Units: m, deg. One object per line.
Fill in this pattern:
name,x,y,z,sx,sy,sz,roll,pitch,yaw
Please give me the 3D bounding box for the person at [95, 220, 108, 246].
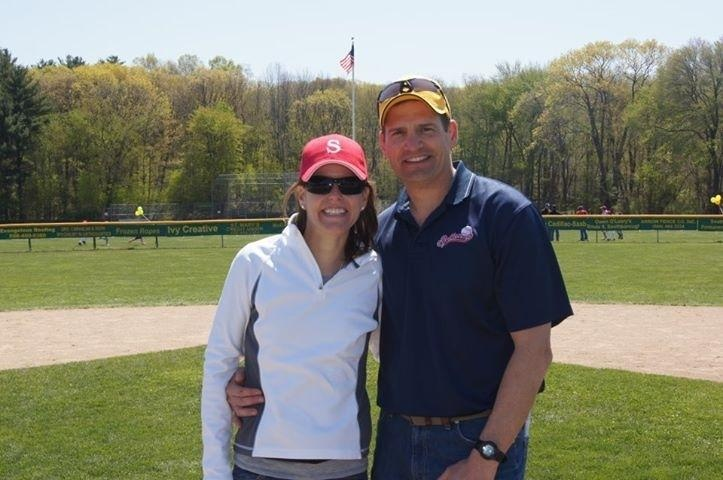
person,-14.701,-0.181,49.589,0.666,1.298,1.068,-2,-1,6
